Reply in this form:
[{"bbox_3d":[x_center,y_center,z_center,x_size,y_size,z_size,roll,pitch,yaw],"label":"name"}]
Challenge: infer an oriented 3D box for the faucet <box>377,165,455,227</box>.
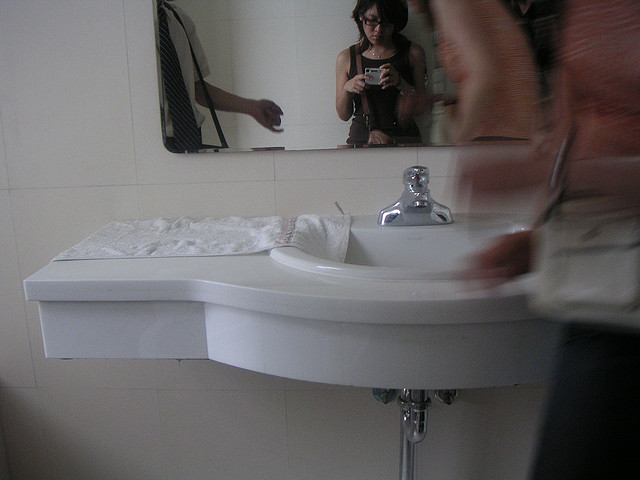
[{"bbox_3d":[0.177,-0.083,1.036,0.145,0.112,0.069,0,4,0],"label":"faucet"}]
